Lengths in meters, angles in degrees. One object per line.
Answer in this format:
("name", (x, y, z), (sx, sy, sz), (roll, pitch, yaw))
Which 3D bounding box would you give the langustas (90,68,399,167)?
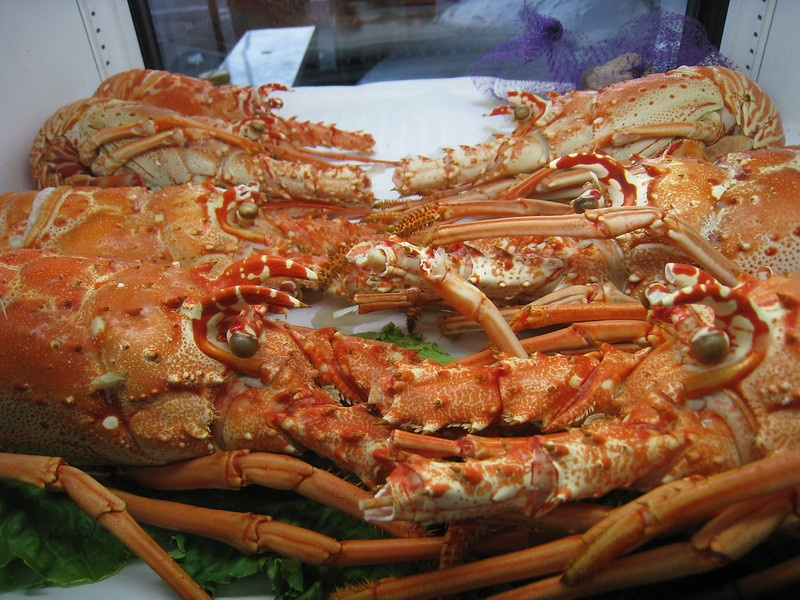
("langustas", (-0.563, -0.937, 3.374), (1.761, 0.312, 0.469), (9, 8, -5))

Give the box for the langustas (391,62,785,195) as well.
("langustas", (0.805, -0.709, 2.904), (1.882, 0.339, 0.648), (-14, 26, -18))

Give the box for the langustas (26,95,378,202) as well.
("langustas", (-0.827, -0.602, 2.957), (2.014, 0.384, 1.030), (14, 22, 38))
